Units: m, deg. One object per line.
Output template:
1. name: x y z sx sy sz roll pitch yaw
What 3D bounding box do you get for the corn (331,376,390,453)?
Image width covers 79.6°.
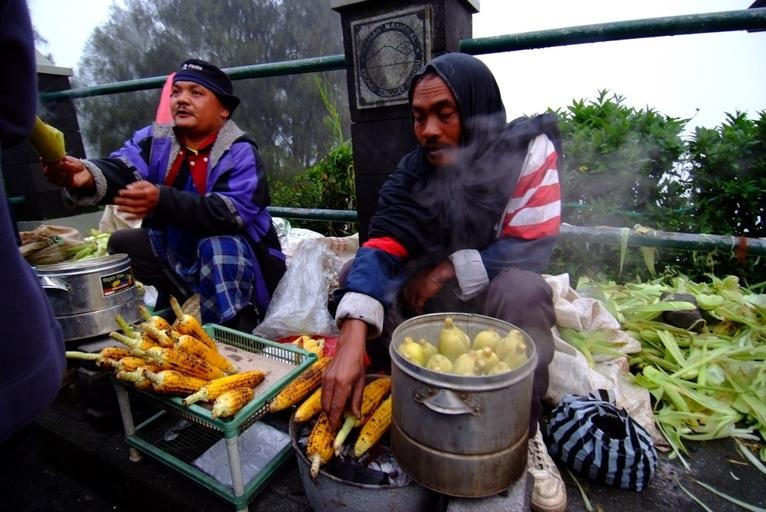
1. corn: -0.095 0.836 2.491 0.355 0.261 0.541 6 23 7

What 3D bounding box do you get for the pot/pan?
1. pot/pan: 0.336 0.761 2.441 0.791 0.689 0.888 2 15 11

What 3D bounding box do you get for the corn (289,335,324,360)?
1. corn: -0.510 0.627 3.162 0.148 0.062 0.156 12 9 35

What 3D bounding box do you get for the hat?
1. hat: -1.336 -1.288 3.483 0.453 0.388 0.162 -4 15 -25

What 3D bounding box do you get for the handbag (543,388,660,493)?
1. handbag: 1.222 1.038 2.621 0.586 0.384 0.412 22 60 23

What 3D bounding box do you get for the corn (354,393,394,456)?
1. corn: -0.037 0.916 2.440 0.104 0.199 0.297 10 15 31

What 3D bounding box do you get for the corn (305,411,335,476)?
1. corn: -0.316 0.967 2.369 0.095 0.090 0.306 -6 42 12
